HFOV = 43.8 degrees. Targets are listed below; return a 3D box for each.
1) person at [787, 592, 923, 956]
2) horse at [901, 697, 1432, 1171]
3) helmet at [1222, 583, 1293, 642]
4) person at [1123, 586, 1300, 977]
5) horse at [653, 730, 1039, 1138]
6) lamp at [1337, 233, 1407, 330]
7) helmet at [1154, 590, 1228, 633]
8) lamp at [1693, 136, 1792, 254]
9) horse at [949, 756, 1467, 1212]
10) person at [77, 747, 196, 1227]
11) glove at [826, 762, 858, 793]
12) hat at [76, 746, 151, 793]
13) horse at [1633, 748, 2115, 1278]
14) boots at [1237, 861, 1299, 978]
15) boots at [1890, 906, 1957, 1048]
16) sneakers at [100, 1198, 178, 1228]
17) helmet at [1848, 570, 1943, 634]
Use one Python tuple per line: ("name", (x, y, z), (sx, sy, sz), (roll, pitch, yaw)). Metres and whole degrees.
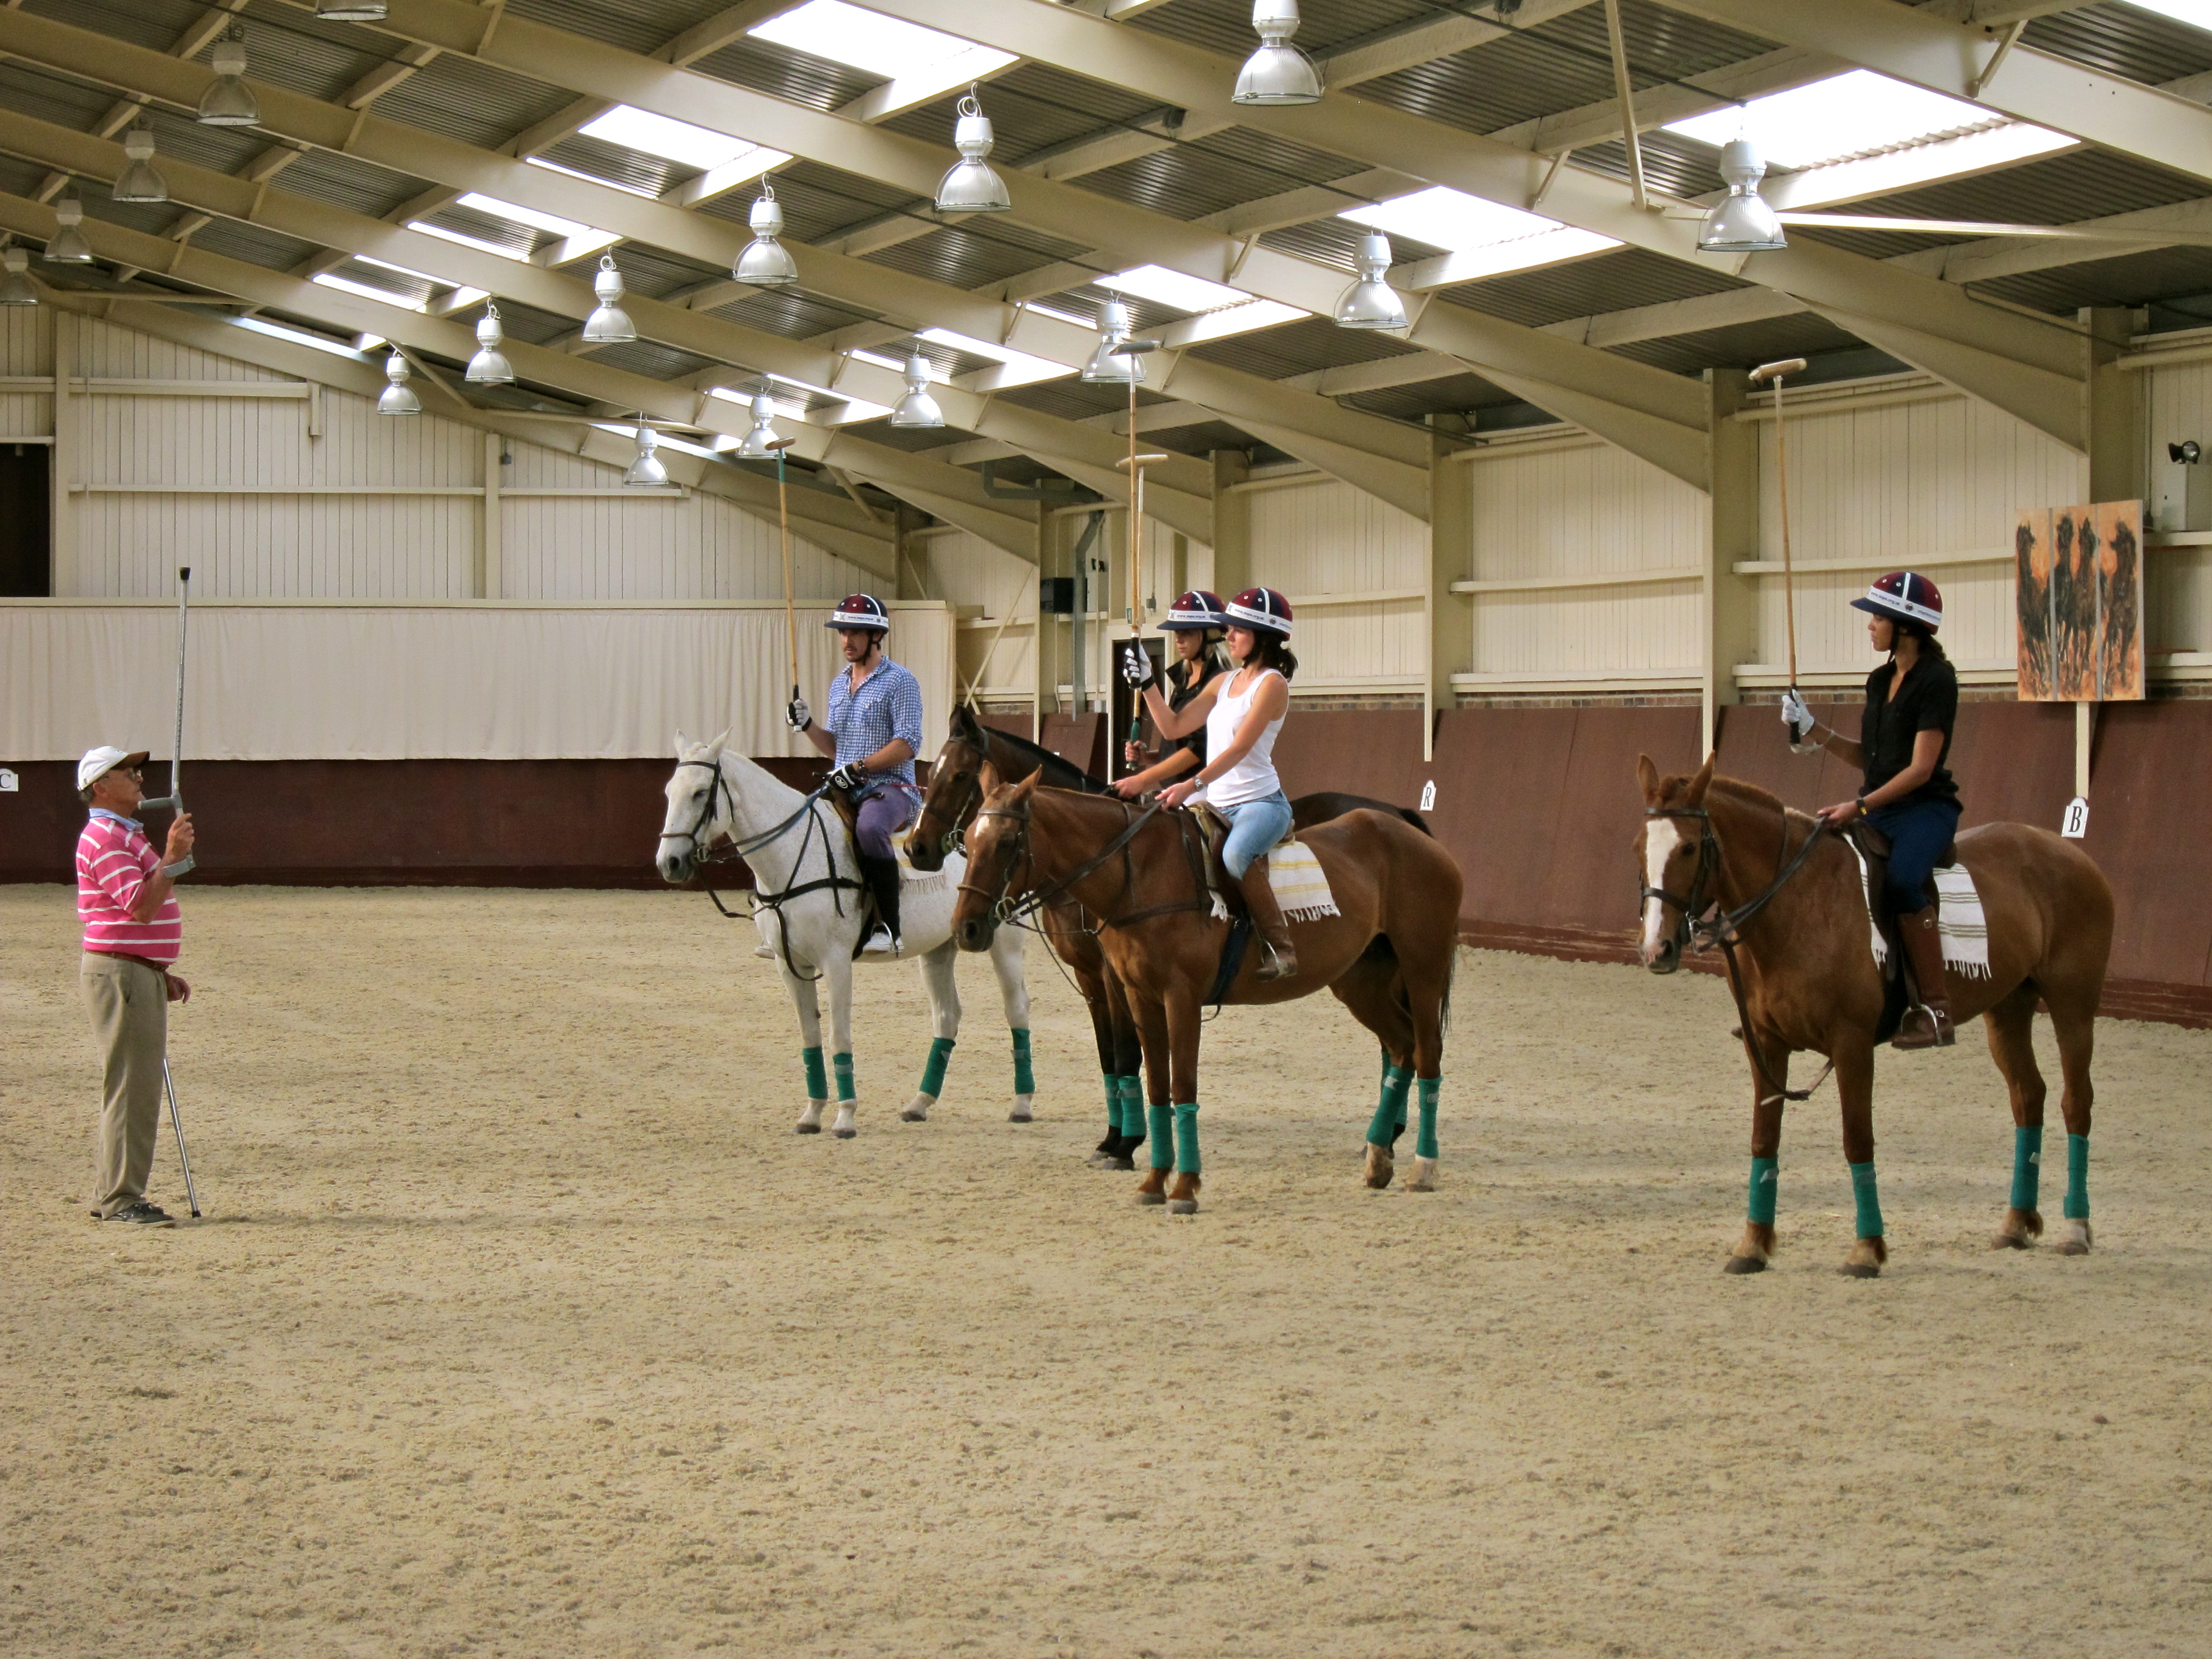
("person", (-1.362, -0.271, 14.675), (0.678, 1.886, 0.667), (1, -8, -26))
("horse", (0.581, 0.782, 12.908), (2.766, 1.894, 0.833), (1, -2, -29))
("helmet", (0.688, -0.972, 12.564), (0.286, 0.179, 0.218), (8, -1, 2))
("person", (0.516, -0.254, 12.781), (0.754, 1.699, 0.808), (-5, 4, -43))
("horse", (-1.280, 0.609, 14.802), (0.725, 1.996, 2.608), (-14, -14, 43))
("lamp", (1.744, -3.521, 18.180), (0.590, 0.745, 0.601), (0, 0, -3))
("helmet", (0.463, -1.048, 13.251), (0.276, 0.147, 0.201), (12, -10, -35))
("lamp", (3.540, -3.440, 15.284), (0.671, 0.824, 0.698), (3, 12, 17))
("horse", (0.731, 0.698, 13.999), (2.930, 2.341, 0.639), (-5, 9, -22))
("person", (-4.245, 0.697, 12.094), (0.471, 2.102, 1.177), (-3, 7, -20))
("glove", (-1.419, -0.260, 14.634), (0.114, 0.129, 0.140), (-5, 23, -41))
("hat", (-4.306, -0.244, 11.894), (0.245, 0.184, 0.241), (-2, 7, -14))
("horse", (3.216, 0.754, 11.453), (2.348, 2.128, 0.632), (-4, 8, -25))
("boots", (0.742, 0.427, 12.539), (0.172, 0.555, 0.275), (3, 8, 28))
("boots", (3.383, 0.613, 11.349), (0.280, 0.603, 0.169), (-6, 9, -38))
("sneakers", (-4.292, 1.688, 12.133), (0.225, 0.081, 0.158), (9, -6, 3))
("helmet", (3.281, -0.935, 11.479), (0.348, 0.197, 0.271), (11, 2, 4))
